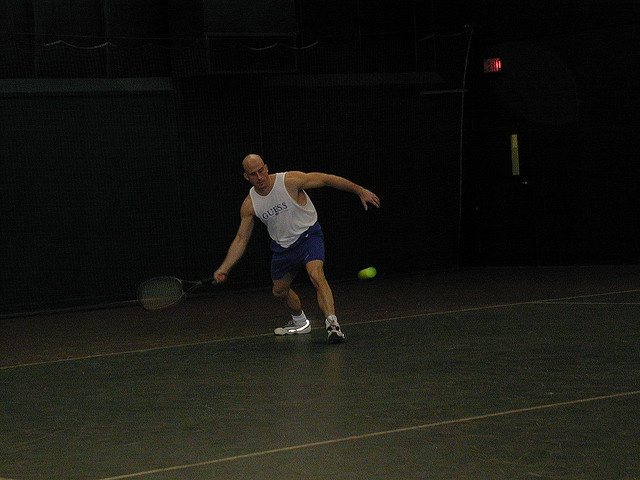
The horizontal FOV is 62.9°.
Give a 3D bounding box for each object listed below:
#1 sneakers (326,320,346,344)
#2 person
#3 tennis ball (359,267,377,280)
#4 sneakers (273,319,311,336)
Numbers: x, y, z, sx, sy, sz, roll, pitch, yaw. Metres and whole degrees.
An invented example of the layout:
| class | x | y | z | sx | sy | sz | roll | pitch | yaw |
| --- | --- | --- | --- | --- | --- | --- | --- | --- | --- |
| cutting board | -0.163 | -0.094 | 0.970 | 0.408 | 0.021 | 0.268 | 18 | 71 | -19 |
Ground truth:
| class | x | y | z | sx | sy | sz | roll | pitch | yaw |
| --- | --- | --- | --- | --- | --- | --- | --- | --- | --- |
| sneakers | 0.163 | 0.983 | 5.578 | 0.172 | 0.257 | 0.199 | -3 | 5 | 1 |
| person | -0.340 | 0.124 | 5.828 | 1.435 | 2.074 | 0.949 | -4 | 5 | -5 |
| tennis ball | 0.901 | 0.695 | 10.055 | 0.291 | 0.108 | 0.296 | -14 | -4 | -1 |
| sneakers | -0.313 | 1.078 | 6.389 | 0.490 | 0.184 | 0.165 | 1 | -9 | -2 |
